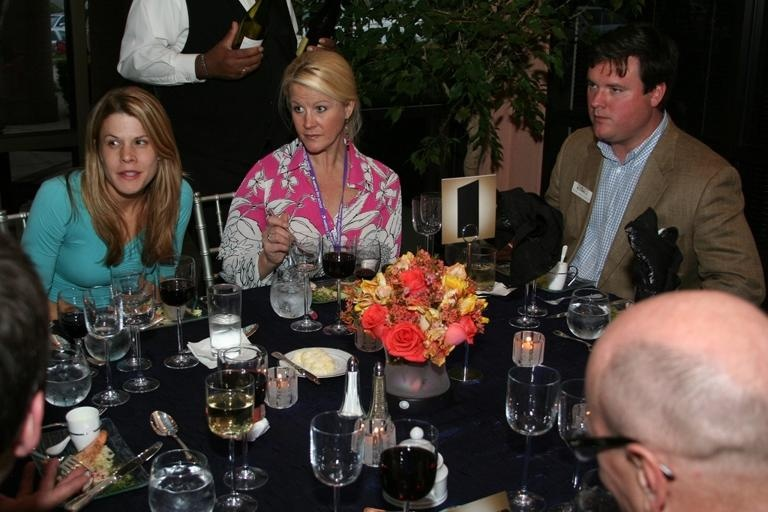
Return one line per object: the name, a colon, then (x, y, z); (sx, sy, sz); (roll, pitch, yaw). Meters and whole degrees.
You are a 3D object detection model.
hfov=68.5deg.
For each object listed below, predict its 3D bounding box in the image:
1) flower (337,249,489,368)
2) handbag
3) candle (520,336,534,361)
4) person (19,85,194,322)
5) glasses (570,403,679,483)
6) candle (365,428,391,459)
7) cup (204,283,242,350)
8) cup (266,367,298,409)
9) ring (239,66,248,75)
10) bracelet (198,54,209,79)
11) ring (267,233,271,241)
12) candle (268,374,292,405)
flower: (0.089, 0.141, 1.598); (0.345, 0.234, 0.356); (22, 32, 28)
handbag: (0.618, -0.083, 2.361); (0.330, 0.382, 0.140); (20, -3, 20)
candle: (0.486, 0.304, 1.898); (0.052, 0.055, 0.048); (1, -8, -26)
person: (-1.287, -0.230, 2.637); (0.745, 1.115, 0.641); (-1, 27, -33)
glasses: (0.373, 0.300, 0.896); (0.116, 0.038, 0.117); (12, -10, 35)
candle: (-0.026, 0.480, 1.469); (0.075, 0.087, 0.077); (1, 2, -3)
cup: (-0.546, 0.228, 1.948); (0.129, 0.224, 0.127); (0, 5, 0)
cup: (-0.311, 0.397, 1.726); (0.100, 0.106, 0.107); (1, 7, 0)
ring: (-0.794, -1.052, 3.207); (0.031, 0.042, 0.040); (3, -21, -18)
bracelet: (-1.008, -1.060, 3.166); (0.035, 0.102, 0.074); (6, 6, 28)
ring: (-0.485, -0.082, 2.391); (0.027, 0.030, 0.012); (0, 2, 10)
candle: (-0.308, 0.408, 1.722); (0.078, 0.090, 0.081); (0, 2, -10)
